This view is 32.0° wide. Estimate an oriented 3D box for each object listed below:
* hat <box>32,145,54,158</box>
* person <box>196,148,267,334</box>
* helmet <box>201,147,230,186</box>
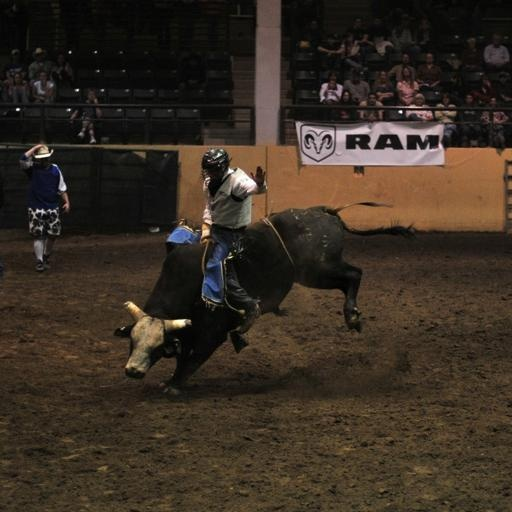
[{"bbox_3d":[-3.118,-1.507,12.978,0.252,0.183,0.366,-2,6,-13],"label":"hat"},{"bbox_3d":[-0.224,-0.103,8.862,0.633,1.913,0.793,-1,6,-4],"label":"person"},{"bbox_3d":[-0.444,-0.921,8.880,0.274,0.288,0.343,13,23,32],"label":"helmet"}]
